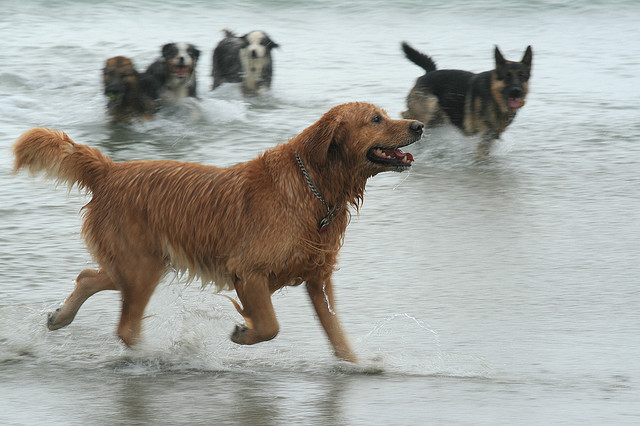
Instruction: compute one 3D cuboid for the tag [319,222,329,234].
[{"bbox_3d":[0.040,0.162,10.165,0.059,0.024,0.120,24,79,38],"label":"tag"}]
